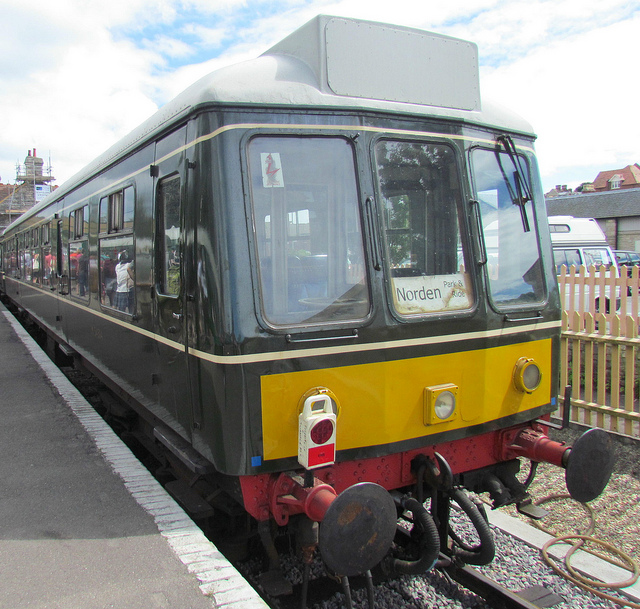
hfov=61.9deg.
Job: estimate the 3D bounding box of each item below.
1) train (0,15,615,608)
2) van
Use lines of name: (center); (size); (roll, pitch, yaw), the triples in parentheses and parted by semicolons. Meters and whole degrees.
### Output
train: (-0.134, -0.052, 3.869); (4.122, 3.278, 2.044); (6, 2, 32)
van: (5.552, -0.679, 12.066); (2.033, 2.262, 1.258); (-1, -10, 17)
